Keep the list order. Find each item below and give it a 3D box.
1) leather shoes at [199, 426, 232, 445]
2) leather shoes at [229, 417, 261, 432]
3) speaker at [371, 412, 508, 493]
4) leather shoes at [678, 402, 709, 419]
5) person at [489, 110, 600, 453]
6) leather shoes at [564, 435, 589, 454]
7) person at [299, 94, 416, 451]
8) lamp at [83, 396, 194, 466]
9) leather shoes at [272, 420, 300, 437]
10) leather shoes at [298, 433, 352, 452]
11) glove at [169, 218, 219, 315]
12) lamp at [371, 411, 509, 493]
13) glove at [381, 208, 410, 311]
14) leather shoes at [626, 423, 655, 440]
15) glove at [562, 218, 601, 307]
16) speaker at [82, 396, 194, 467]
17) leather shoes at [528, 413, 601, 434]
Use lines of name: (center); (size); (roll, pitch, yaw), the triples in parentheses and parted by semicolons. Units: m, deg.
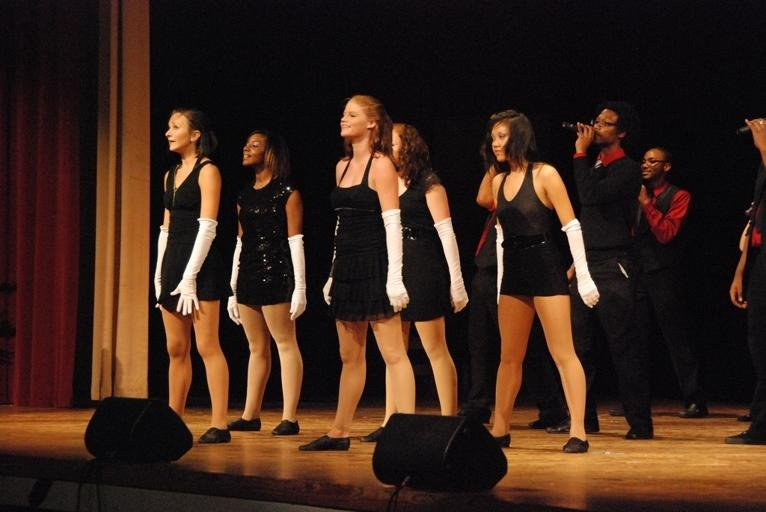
leather shoes: (-1.050, 1.132, 4.888); (0.181, 0.070, 0.090); (9, -13, -30)
leather shoes: (-0.952, 1.175, 5.409); (0.187, 0.066, 0.092); (10, -17, -22)
speaker: (0.258, 0.996, 3.884); (0.521, 0.354, 0.420); (-5, -3, 35)
leather shoes: (2.451, 1.207, 6.151); (0.207, 0.130, 0.222); (-1, -7, 22)
person: (0.953, 0.163, 4.676); (0.618, 1.992, 0.279); (1, -6, 13)
leather shoes: (1.163, 1.127, 4.662); (0.172, 0.097, 0.107); (2, -6, -2)
person: (-0.094, 0.101, 4.599); (0.580, 2.099, 0.341); (1, -6, 10)
lamp: (-1.395, 0.989, 4.428); (0.519, 0.354, 0.430); (-6, -11, 38)
leather shoes: (-0.660, 1.169, 5.286); (0.085, 0.068, 0.177); (-12, -19, 38)
leather shoes: (-0.343, 1.114, 4.676); (0.303, 0.107, 0.109); (3, -8, -4)
glove: (-1.201, 0.066, 4.936); (0.248, 0.622, 0.163); (4, -6, -13)
lamp: (0.300, 0.949, 4.068); (0.552, 0.339, 0.451); (-12, 5, 44)
glove: (0.064, 0.026, 4.490); (0.160, 0.582, 0.124); (3, -6, -7)
leather shoes: (1.708, 1.157, 5.143); (0.150, 0.090, 0.092); (5, -9, -1)
glove: (1.205, 0.034, 4.700); (0.184, 0.518, 0.292); (-1, -7, 24)
speaker: (-1.357, 0.888, 4.271); (0.464, 0.315, 0.385); (-4, -9, 29)
leather shoes: (1.256, 1.187, 5.476); (0.529, 0.209, 0.176); (-1, -8, 9)
